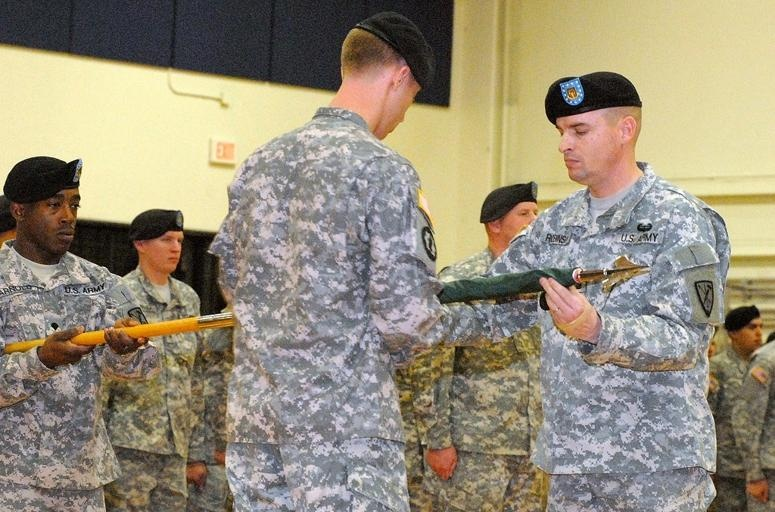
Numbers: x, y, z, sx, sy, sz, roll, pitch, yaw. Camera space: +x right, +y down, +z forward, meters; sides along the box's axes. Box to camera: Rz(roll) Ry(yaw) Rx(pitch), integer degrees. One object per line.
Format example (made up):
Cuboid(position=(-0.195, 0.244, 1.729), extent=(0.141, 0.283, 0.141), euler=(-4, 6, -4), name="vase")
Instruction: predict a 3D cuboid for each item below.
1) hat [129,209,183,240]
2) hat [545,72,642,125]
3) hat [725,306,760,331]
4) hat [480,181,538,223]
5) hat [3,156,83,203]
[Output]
Cuboid(position=(-1.740, -0.231, 8.010), extent=(0.327, 0.107, 0.228), euler=(-8, 0, 31), name="hat")
Cuboid(position=(1.106, -0.859, 5.957), extent=(0.402, 0.176, 0.291), euler=(-2, -3, -9), name="hat")
Cuboid(position=(3.287, 0.590, 10.035), extent=(0.238, 0.218, 0.276), euler=(-5, -20, -44), name="hat")
Cuboid(position=(0.821, -0.391, 7.676), extent=(0.370, 0.131, 0.285), euler=(-26, 11, 10), name="hat")
Cuboid(position=(-2.018, -0.453, 6.300), extent=(0.390, 0.134, 0.270), euler=(-6, 24, -5), name="hat")
